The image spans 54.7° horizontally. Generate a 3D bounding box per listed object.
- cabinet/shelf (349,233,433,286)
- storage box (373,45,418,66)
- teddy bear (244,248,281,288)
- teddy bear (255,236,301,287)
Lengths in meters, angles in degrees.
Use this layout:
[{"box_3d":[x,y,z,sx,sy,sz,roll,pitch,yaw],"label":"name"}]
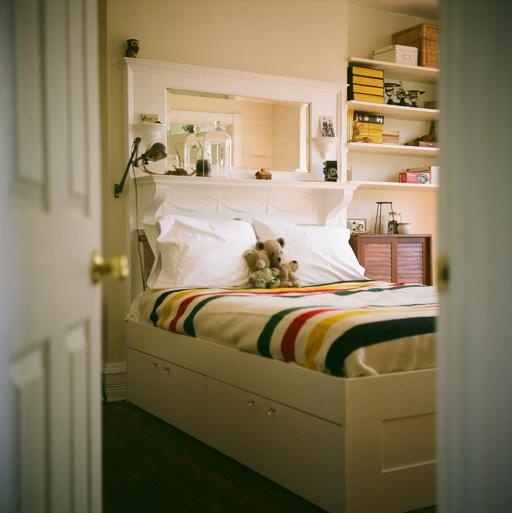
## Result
[{"box_3d":[1.056,0.015,3.942,0.407,0.403,0.160,-1,-2,-26],"label":"cabinet/shelf"},{"box_3d":[1.194,-1.675,4.129,0.234,0.127,0.232,-2,11,-27],"label":"storage box"},{"box_3d":[0.036,0.077,2.944,0.144,0.200,0.123,-14,-27,-15],"label":"teddy bear"},{"box_3d":[0.131,0.042,3.003,0.220,0.256,0.145,-14,-7,-46],"label":"teddy bear"}]
